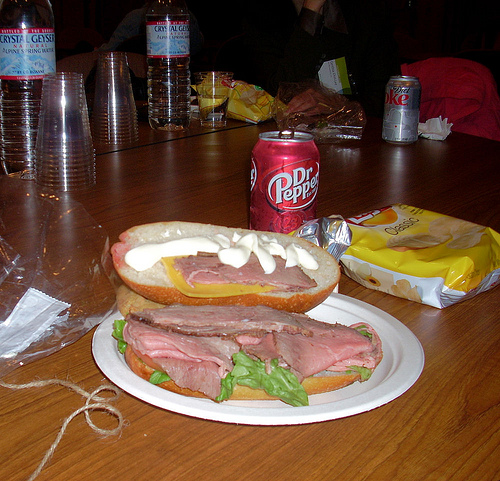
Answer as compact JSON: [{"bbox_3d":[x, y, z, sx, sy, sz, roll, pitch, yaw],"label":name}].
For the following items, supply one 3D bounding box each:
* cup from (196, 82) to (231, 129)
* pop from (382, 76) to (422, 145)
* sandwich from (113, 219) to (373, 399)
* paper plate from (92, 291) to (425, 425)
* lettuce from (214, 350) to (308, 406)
[{"bbox_3d":[-0.137,-0.508,1.771,0.128,0.167,0.183,-2,19,-4],"label":"cup"},{"bbox_3d":[0.480,-0.420,1.535,0.141,0.186,0.119,4,20,10],"label":"pop"},{"bbox_3d":[0.004,0.052,0.506,0.297,0.106,0.288,-4,17,-12],"label":"sandwich"},{"bbox_3d":[0.022,0.072,0.465,0.281,0.075,0.203,1,16,7],"label":"paper plate"},{"bbox_3d":[0.010,0.113,0.388,0.075,0.031,0.037,1,19,3],"label":"lettuce"}]
